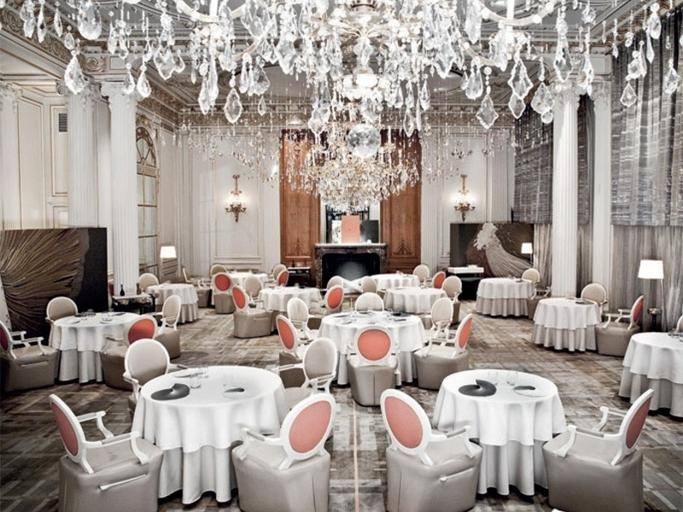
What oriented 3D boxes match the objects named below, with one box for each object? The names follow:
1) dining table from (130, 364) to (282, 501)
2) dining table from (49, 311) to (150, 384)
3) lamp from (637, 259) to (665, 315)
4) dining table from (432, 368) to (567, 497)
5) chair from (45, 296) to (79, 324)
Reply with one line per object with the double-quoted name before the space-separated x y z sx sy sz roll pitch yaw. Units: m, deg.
"dining table" -1.265 1.630 4.952 1.083 0.773 1.173 1 1 -1
"dining table" -4.021 1.392 7.668 1.044 0.761 1.136 11 5 37
"lamp" 5.239 0.517 8.188 0.359 0.938 1.465 1 4 33
"dining table" 1.589 1.674 5.051 0.980 0.892 1.114 0 -2 4
"chair" -4.756 0.854 8.287 0.435 0.687 0.418 -2 7 -39
